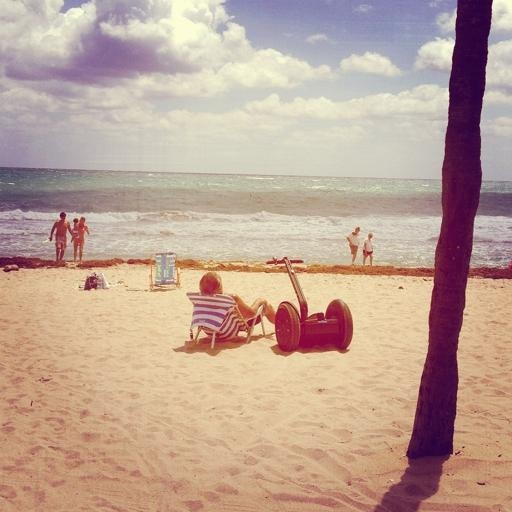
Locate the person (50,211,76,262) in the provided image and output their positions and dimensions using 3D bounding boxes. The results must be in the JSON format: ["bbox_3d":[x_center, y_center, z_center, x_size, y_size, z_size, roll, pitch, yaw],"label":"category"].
[{"bbox_3d":[-5.581,-0.495,17.040,0.636,1.501,0.435,4,5,-12],"label":"person"}]

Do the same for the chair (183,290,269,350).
[{"bbox_3d":[-0.438,0.832,8.297,0.994,0.810,0.796,-2,11,-8],"label":"chair"}]
